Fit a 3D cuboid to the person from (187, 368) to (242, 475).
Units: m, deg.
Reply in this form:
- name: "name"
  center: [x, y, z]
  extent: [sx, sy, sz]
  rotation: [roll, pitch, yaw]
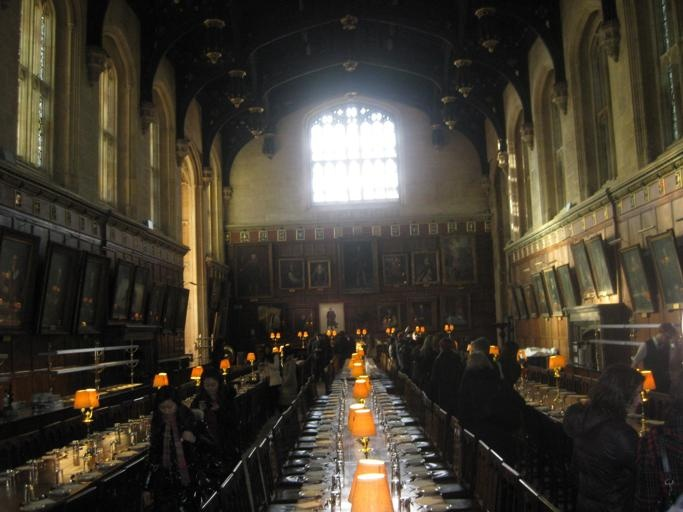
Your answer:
- name: "person"
  center: [-1.660, 2.211, 7.962]
  extent: [0.486, 1.688, 0.487]
  rotation: [0, 21, -4]
